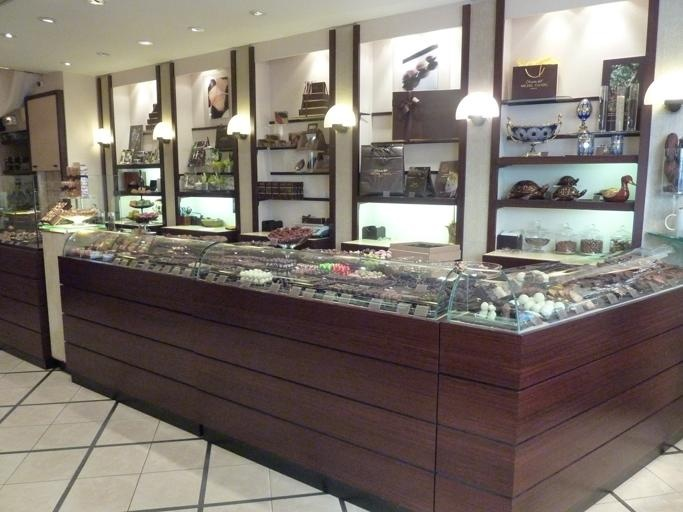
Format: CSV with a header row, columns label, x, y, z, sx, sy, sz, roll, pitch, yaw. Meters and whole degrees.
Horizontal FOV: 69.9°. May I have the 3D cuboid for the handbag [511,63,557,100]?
label,x,y,z,sx,sy,sz,roll,pitch,yaw
handbag,1.944,-1.758,4.898,0.399,0.286,0.152,6,13,30

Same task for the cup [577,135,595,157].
label,x,y,z,sx,sy,sz,roll,pitch,yaw
cup,2.364,-1.087,4.739,0.140,0.207,0.172,5,14,23

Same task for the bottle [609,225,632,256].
label,x,y,z,sx,sy,sz,roll,pitch,yaw
bottle,2.611,-0.144,4.574,0.277,0.277,0.268,4,10,25

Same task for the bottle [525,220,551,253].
label,x,y,z,sx,sy,sz,roll,pitch,yaw
bottle,2.044,-0.199,5.196,0.334,0.354,0.315,2,6,10

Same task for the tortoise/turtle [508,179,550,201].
label,x,y,z,sx,sy,sz,roll,pitch,yaw
tortoise/turtle,1.938,-0.683,5.051,0.325,0.146,0.218,0,8,21

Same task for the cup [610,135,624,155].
label,x,y,z,sx,sy,sz,roll,pitch,yaw
cup,2.603,-1.056,4.628,0.099,0.180,0.129,5,14,23

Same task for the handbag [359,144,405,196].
label,x,y,z,sx,sy,sz,roll,pitch,yaw
handbag,0.506,-1.063,5.898,0.643,0.577,0.220,7,23,37

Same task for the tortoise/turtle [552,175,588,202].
label,x,y,z,sx,sy,sz,roll,pitch,yaw
tortoise/turtle,2.253,-0.665,4.866,0.269,0.145,0.313,-8,17,-6

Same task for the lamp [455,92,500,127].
label,x,y,z,sx,sy,sz,roll,pitch,yaw
lamp,1.382,-1.530,5.048,0.382,0.271,0.360,-1,10,-10

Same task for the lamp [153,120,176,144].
label,x,y,z,sx,sy,sz,roll,pitch,yaw
lamp,-2.853,-1.991,7.745,0.340,0.308,0.331,-11,18,-42

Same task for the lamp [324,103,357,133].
label,x,y,z,sx,sy,sz,roll,pitch,yaw
lamp,-0.057,-1.681,5.885,0.363,0.265,0.355,-2,31,-46

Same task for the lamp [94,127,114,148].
label,x,y,z,sx,sy,sz,roll,pitch,yaw
lamp,-4.225,-2.114,8.632,0.319,0.371,0.363,4,-1,-2

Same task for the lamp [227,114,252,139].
label,x,y,z,sx,sy,sz,roll,pitch,yaw
lamp,-1.454,-1.868,6.933,0.359,0.291,0.336,12,26,-10
